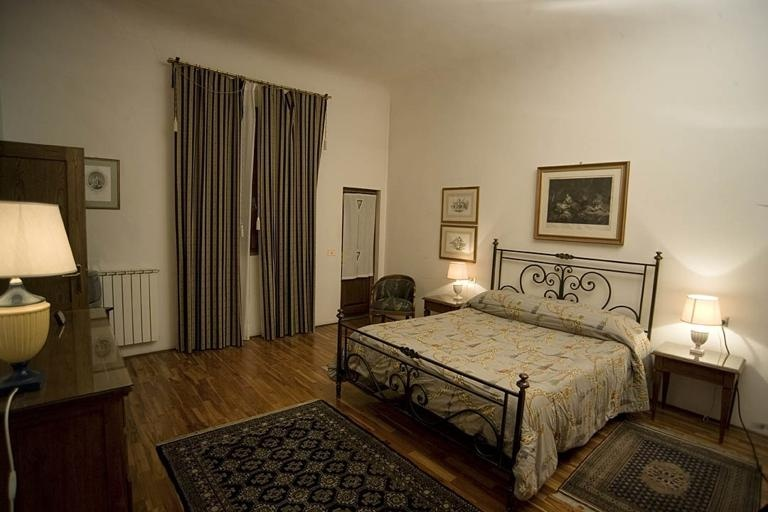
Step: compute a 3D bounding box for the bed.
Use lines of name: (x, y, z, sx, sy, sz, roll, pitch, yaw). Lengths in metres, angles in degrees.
bed: (1.501, 1.020, 5.534, 2.649, 2.039, 2.609, -4, 9, -39)

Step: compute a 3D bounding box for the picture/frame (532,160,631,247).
picture/frame: (2.512, -0.655, 6.101, 0.975, 1.024, 0.079, 7, 5, 38)

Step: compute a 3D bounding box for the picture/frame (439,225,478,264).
picture/frame: (1.134, -0.178, 7.326, 0.040, 0.486, 0.530, -6, 6, -43)

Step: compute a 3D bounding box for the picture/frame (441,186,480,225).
picture/frame: (1.158, -0.747, 7.279, 0.567, 0.519, 0.043, -3, -3, 44)

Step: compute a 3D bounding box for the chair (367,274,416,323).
chair: (0.149, 0.763, 7.584, 0.663, 0.889, 0.606, 3, 1, 7)
